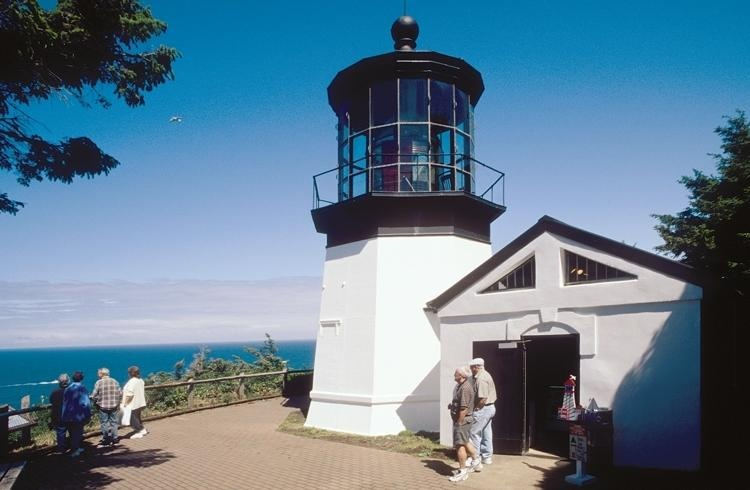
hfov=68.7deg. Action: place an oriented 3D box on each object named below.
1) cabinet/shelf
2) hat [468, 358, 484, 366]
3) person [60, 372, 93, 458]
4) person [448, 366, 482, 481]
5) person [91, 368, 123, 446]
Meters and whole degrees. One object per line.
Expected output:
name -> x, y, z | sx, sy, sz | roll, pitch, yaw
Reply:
cabinet/shelf -> 5.626, 5.286, 14.602 | 1.344, 2.417, 1.642 | 9, -10, -36
hat -> 2.862, 3.245, 15.576 | 0.373, 0.181, 0.279 | 6, -2, 27
person -> -9.226, 5.077, 16.861 | 0.782, 2.442, 1.010 | 0, -2, -28
person -> 2.394, 4.786, 14.888 | 0.639, 2.911, 0.980 | -2, -2, 26
person -> -8.749, 5.156, 17.799 | 0.841, 2.425, 1.208 | 0, -2, -27
